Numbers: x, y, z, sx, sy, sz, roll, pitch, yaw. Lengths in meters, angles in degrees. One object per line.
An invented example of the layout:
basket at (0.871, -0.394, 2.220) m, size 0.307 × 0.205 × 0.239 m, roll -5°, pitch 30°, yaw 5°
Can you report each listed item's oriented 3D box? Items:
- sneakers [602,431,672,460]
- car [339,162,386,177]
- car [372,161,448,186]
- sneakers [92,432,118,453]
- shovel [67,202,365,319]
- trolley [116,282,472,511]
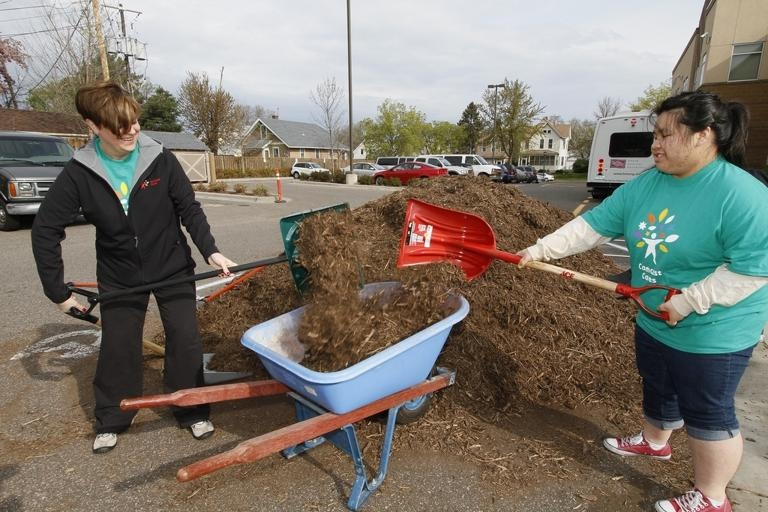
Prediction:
sneakers at (1.985, 1.524, 4.152) m, size 0.587 × 0.212 × 0.191 m, roll 3°, pitch -7°, yaw 17°
car at (-1.338, -4.853, 28.292) m, size 2.570 × 0.838 × 1.100 m, roll -4°, pitch 11°, yaw 13°
car at (0.989, -3.874, 24.098) m, size 3.878 × 1.208 × 1.006 m, roll 14°, pitch 20°, yaw 39°
sneakers at (-2.274, 1.527, 4.122) m, size 0.124 × 0.077 × 0.198 m, roll 1°, pitch 11°, yaw -15°
shovel at (-1.439, 0.118, 4.462) m, size 2.151 × 0.716 × 1.149 m, roll -22°, pitch -2°, yaw -14°
trolley at (-0.394, 1.118, 4.152) m, size 2.678 × 1.130 × 1.284 m, roll -19°, pitch 30°, yaw -33°
